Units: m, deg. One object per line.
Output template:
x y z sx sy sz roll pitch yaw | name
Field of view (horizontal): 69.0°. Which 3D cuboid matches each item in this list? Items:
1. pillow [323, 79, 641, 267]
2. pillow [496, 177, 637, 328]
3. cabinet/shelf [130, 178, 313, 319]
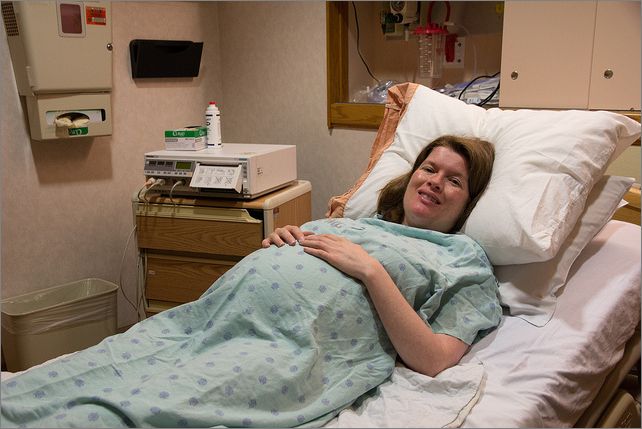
0.818 -0.216 1.973 0.933 0.357 0.952 17 50 36 | pillow
0.954 0.115 1.968 0.109 0.649 0.443 25 -19 33 | pillow
-0.579 0.327 2.620 0.776 0.768 0.541 0 -1 7 | cabinet/shelf
